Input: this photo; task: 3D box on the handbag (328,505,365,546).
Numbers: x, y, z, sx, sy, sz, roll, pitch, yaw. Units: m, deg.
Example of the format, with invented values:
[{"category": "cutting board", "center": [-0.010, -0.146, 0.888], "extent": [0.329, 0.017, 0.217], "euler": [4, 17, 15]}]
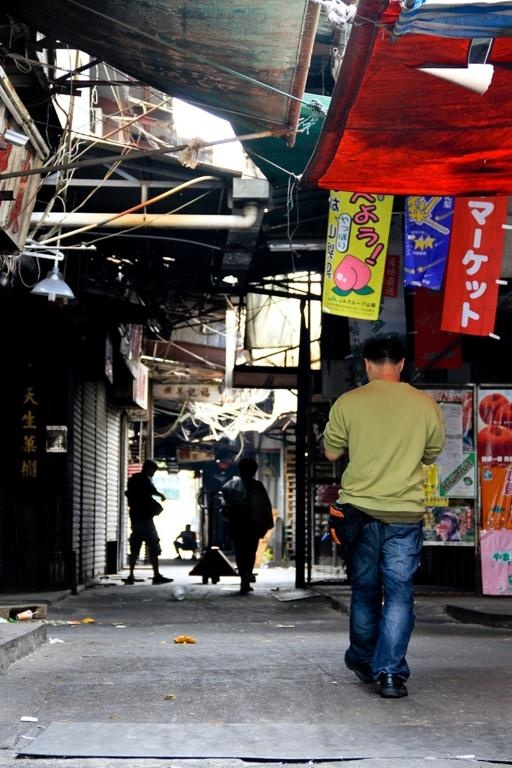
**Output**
[{"category": "handbag", "center": [0.382, 0.649, 3.393], "extent": [0.197, 0.183, 0.146], "euler": [-1, -5, -10]}]

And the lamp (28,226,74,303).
[{"category": "lamp", "center": [-2.063, -1.253, 7.448], "extent": [0.555, 0.686, 0.528], "euler": [7, 6, 36]}]

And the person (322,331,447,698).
[{"category": "person", "center": [0.606, 0.555, 3.294], "extent": [0.524, 1.587, 0.666], "euler": [3, -3, -14]}]

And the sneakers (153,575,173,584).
[{"category": "sneakers", "center": [-1.550, 3.325, 12.456], "extent": [0.397, 0.156, 0.128], "euler": [1, -4, -9]}]

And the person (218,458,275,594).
[{"category": "person", "center": [-0.149, 1.991, 10.381], "extent": [0.508, 1.875, 0.824], "euler": [4, -3, -33]}]
